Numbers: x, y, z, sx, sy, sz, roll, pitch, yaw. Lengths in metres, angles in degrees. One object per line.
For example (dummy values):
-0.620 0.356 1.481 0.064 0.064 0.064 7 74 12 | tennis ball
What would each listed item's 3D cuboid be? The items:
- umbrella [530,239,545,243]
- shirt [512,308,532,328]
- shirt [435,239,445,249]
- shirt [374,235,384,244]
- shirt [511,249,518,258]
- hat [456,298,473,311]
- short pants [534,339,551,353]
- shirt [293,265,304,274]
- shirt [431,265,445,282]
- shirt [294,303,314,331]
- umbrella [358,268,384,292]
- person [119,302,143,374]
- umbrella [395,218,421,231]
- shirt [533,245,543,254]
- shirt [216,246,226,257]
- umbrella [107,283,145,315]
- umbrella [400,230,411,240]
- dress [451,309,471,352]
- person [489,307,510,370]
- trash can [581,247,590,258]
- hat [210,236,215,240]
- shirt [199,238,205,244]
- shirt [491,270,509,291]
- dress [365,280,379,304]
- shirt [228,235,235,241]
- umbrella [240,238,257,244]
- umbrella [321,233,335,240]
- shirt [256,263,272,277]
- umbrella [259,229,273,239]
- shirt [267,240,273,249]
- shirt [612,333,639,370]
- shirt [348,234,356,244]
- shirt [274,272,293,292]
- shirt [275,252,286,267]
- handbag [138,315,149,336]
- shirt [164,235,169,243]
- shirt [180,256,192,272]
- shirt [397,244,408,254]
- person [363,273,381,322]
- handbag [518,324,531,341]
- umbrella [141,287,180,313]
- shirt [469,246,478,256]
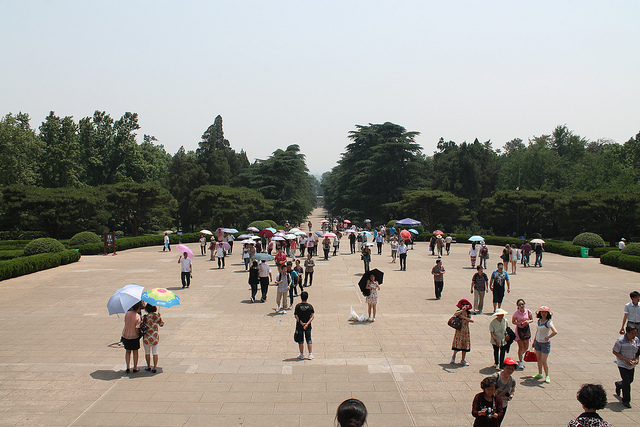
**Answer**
15.140 1.931 36.419 0.654 0.292 0.968 6 12 30 | umbrella
7.060 3.641 18.312 0.479 0.541 0.472 6 12 29 | shirt
9.200 2.260 40.082 0.387 0.630 1.026 2 10 8 | shirt
4.707 2.046 41.507 0.760 0.671 0.423 1 21 4 | shirt
12.128 2.496 32.775 0.495 0.692 0.387 1 -4 6 | shirt
5.139 3.170 18.731 0.556 0.290 0.771 2 -9 12 | hat
7.486 4.480 17.551 0.528 0.465 0.379 -16 -34 43 | short pants
-1.037 2.653 25.521 0.556 0.537 0.293 0 -8 -3 | shirt
5.815 2.873 25.660 0.425 0.944 0.820 4 11 19 | shirt
-0.560 3.706 18.825 0.606 1.004 0.473 -1 11 -6 | shirt
2.233 2.920 22.691 1.016 0.986 0.475 5 0 -36 | umbrella
-6.516 4.192 18.199 0.741 2.403 1.394 -5 12 -24 | person
8.524 1.173 50.413 1.437 0.894 1.415 -1 7 -8 | umbrella
14.974 2.436 35.831 0.516 0.481 0.896 9 -6 19 | shirt
-6.505 2.549 34.765 0.459 0.706 0.755 -2 11 -13 | shirt
-6.659 2.992 17.985 1.132 0.751 0.929 -5 11 -25 | umbrella
6.330 1.757 38.842 0.807 0.478 0.788 -1 37 -7 | umbrella
4.996 4.167 18.451 0.597 1.582 0.511 1 11 5 | dress
6.208 4.299 18.077 0.629 1.996 0.678 4 11 19 | person
21.361 3.178 42.402 0.777 0.851 0.661 -1 -2 3 | trash can
-7.844 1.772 38.363 0.382 0.192 0.502 -4 -3 -1 | hat
-9.205 2.152 41.234 0.564 0.558 0.320 0 -4 -2 | shirt
7.950 2.979 23.189 0.585 0.903 0.954 4 11 19 | shirt
2.265 3.373 22.577 0.451 1.114 0.564 0 11 -3 | dress
-7.076 1.919 41.482 0.369 0.477 0.932 -2 10 -11 | shirt
-4.374 1.714 31.991 0.766 0.227 0.709 -3 -4 43 | umbrella
0.647 1.708 39.889 0.876 0.414 0.875 0 2 16 | umbrella
-2.650 2.753 25.694 0.999 0.818 0.522 0 5 2 | shirt
-3.767 1.526 37.222 0.708 0.805 1.498 -2 11 -12 | umbrella
-3.521 2.198 37.207 0.393 0.669 0.546 1 0 21 | shirt
9.656 4.309 16.442 0.750 1.012 0.442 1 11 5 | shirt
2.665 2.119 42.804 0.916 0.858 0.501 1 -12 -3 | shirt
-1.653 3.111 23.863 0.527 0.823 0.659 4 11 18 | shirt
-2.120 2.430 28.479 0.592 0.636 0.367 0 -14 0 | shirt
-5.991 3.768 17.741 0.347 0.589 0.247 -6 12 -29 | handbag
-13.346 2.215 45.545 0.334 0.775 1.575 -3 11 -16 | shirt
-7.148 2.747 28.017 0.422 0.862 0.319 -1 11 -8 | shirt
5.317 2.301 33.642 0.732 0.678 0.400 1 -9 2 | shirt
2.246 3.534 22.918 0.667 2.012 1.504 1 11 6 | person
7.116 4.124 18.178 0.411 0.583 0.188 0 11 -3 | handbag
-5.573 2.910 18.235 0.775 0.483 0.800 16 11 24 | umbrella
10.396 2.563 35.361 0.796 0.777 0.451 1 0 12 | shirt
